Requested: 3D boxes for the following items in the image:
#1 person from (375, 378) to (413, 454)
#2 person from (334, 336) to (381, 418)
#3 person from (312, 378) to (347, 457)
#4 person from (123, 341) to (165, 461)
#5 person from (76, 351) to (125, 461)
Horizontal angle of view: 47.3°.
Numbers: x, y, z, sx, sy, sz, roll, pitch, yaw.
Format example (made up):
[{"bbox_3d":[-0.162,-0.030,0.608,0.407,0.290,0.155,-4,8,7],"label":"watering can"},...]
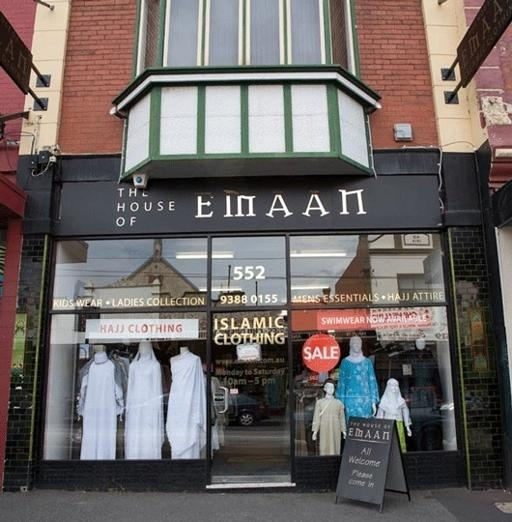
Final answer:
[{"bbox_3d":[1.970,2.191,8.345,0.484,0.984,0.272,0,1,18],"label":"person"},{"bbox_3d":[1.464,1.855,8.505,0.606,1.516,0.251,-1,12,16],"label":"person"},{"bbox_3d":[1.055,2.350,8.377,0.444,1.323,0.264,0,19,8],"label":"person"},{"bbox_3d":[-1.620,1.976,8.374,0.562,1.585,0.374,-1,1,-6],"label":"person"},{"bbox_3d":[-2.257,2.051,8.396,0.657,1.462,0.382,-1,1,-11],"label":"person"}]
